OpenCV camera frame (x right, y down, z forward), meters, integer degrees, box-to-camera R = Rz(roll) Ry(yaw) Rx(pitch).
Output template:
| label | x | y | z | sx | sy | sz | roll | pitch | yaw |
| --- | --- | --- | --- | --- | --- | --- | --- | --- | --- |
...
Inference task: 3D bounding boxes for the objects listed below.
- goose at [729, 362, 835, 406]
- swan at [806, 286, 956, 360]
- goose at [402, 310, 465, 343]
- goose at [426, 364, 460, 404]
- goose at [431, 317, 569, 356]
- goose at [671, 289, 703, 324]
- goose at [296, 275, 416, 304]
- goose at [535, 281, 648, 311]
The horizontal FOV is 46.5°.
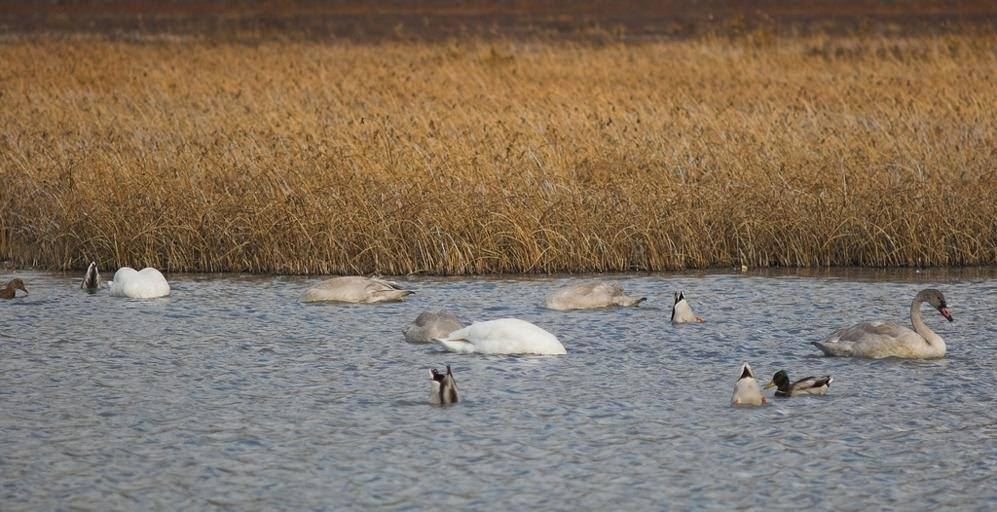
| label | x | y | z | sx | sy | sz | roll | pitch | yaw |
| --- | --- | --- | --- | --- | --- | --- | --- | --- | --- |
| goose | 3.782 | 1.653 | 15.791 | 1.471 | 0.577 | 0.475 | -7 | 25 | -15 |
| swan | 5.795 | 1.099 | 16.993 | 2.078 | 0.702 | 0.918 | -8 | 24 | -17 |
| goose | -0.996 | 1.100 | 17.771 | 0.432 | 0.332 | 0.990 | -12 | 9 | -37 |
| goose | -0.734 | 1.748 | 15.683 | 0.395 | 0.503 | 0.309 | 1 | 26 | 6 |
| goose | 0.061 | 1.205 | 17.145 | 1.840 | 0.495 | 0.404 | 2 | 25 | 8 |
| goose | 3.002 | 0.804 | 18.477 | 0.532 | 0.526 | 0.491 | -1 | 24 | 3 |
| goose | -2.482 | 0.595 | 19.881 | 2.186 | 0.418 | 0.605 | 1 | 3 | -5 |
| goose | 1.574 | 0.683 | 19.411 | 1.681 | 0.328 | 0.471 | -5 | 23 | -9 |
